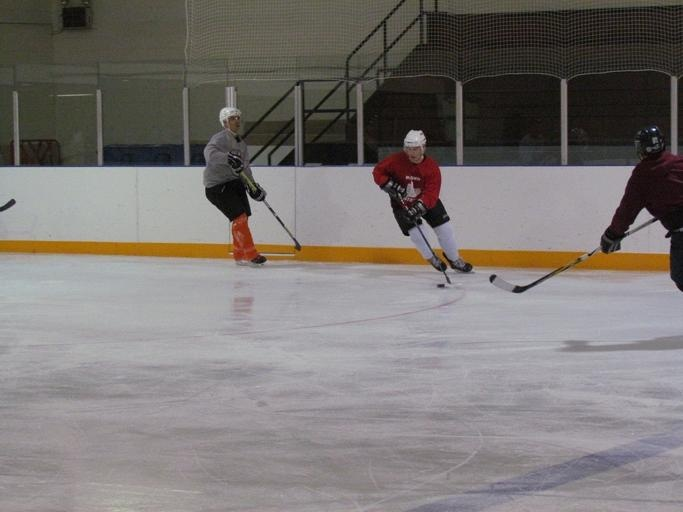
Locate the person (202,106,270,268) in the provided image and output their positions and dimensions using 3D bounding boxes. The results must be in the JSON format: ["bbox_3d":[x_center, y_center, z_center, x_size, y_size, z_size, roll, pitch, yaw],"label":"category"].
[{"bbox_3d":[-0.972,-0.636,8.862,0.482,1.438,0.564,-6,11,-27],"label":"person"}]

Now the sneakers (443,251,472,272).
[{"bbox_3d":[0.964,0.044,8.387,0.356,0.100,0.131,16,8,13],"label":"sneakers"}]

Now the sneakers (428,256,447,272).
[{"bbox_3d":[0.801,0.068,7.975,0.092,0.068,0.202,13,26,-35],"label":"sneakers"}]

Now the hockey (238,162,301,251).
[{"bbox_3d":[-0.674,-0.498,9.323,1.200,0.217,0.065,40,-5,-23],"label":"hockey"}]

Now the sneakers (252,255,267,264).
[{"bbox_3d":[-0.746,0.031,8.829,0.171,0.047,0.071,-7,1,-4],"label":"sneakers"}]

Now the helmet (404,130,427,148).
[{"bbox_3d":[0.603,-0.964,7.961,0.166,0.151,0.185,-2,-1,18],"label":"helmet"}]

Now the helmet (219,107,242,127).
[{"bbox_3d":[-1.034,-1.287,8.939,0.226,0.149,0.182,4,12,22],"label":"helmet"}]

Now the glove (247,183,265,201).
[{"bbox_3d":[-0.793,-0.574,8.842,0.178,0.058,0.125,35,22,9],"label":"glove"}]

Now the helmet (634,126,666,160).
[{"bbox_3d":[1.781,-0.647,5.553,0.239,0.178,0.169,-6,-4,2],"label":"helmet"}]

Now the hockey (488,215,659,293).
[{"bbox_3d":[1.958,-0.012,7.932,1.568,0.368,0.163,-15,25,26],"label":"hockey"}]

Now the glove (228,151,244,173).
[{"bbox_3d":[-0.943,-0.832,8.624,0.142,0.064,0.185,28,4,-28],"label":"glove"}]
